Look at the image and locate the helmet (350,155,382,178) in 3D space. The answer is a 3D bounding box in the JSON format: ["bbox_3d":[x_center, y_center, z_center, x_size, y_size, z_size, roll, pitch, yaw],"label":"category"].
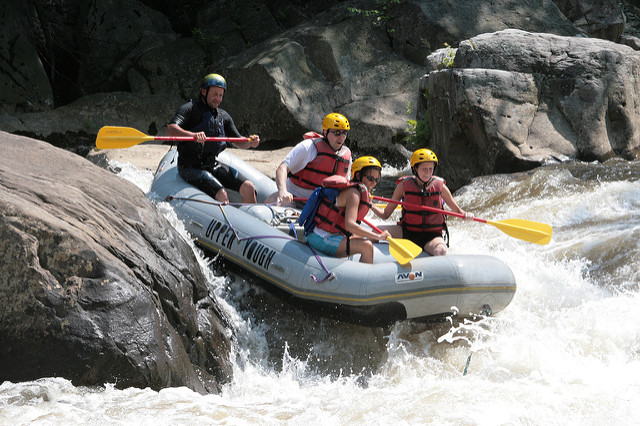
[{"bbox_3d":[0.609,-0.716,14.958,0.282,0.291,0.373,3,-33,-42],"label":"helmet"}]

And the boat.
[{"bbox_3d":[-0.021,0.632,14.955,3.726,0.798,2.276,26,5,24],"label":"boat"}]

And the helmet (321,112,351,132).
[{"bbox_3d":[0.191,-1.349,15.584,0.301,0.225,0.383,-1,24,-40],"label":"helmet"}]

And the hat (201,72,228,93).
[{"bbox_3d":[-1.596,-1.938,15.724,0.416,0.301,0.381,0,9,15],"label":"hat"}]

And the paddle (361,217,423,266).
[{"bbox_3d":[0.911,0.312,14.836,0.394,0.080,1.172,-42,53,-16],"label":"paddle"}]
